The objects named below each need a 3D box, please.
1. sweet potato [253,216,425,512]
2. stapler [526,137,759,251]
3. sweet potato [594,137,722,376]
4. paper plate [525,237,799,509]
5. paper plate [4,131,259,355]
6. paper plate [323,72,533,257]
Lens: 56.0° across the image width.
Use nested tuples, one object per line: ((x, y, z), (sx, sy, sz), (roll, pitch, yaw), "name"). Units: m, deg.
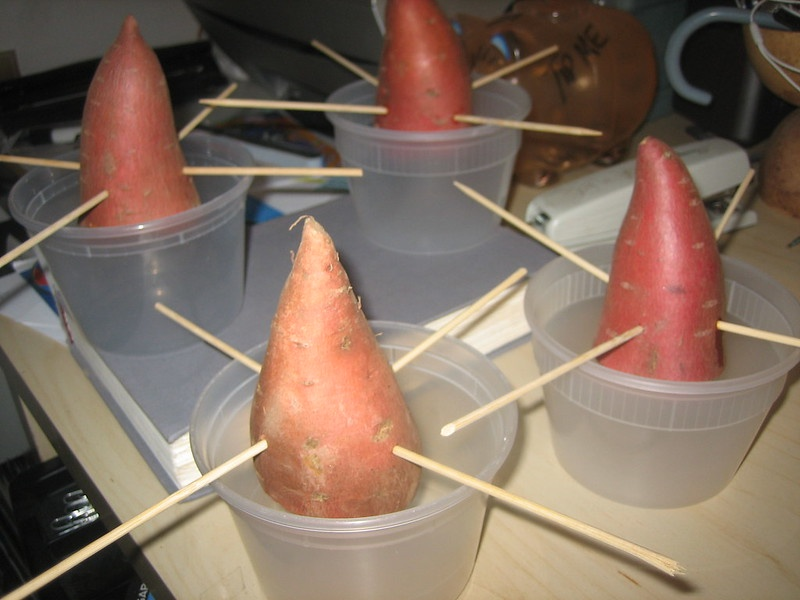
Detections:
((-0.064, 0.064, 0.753), (0.166, 0.299, 0.183), (11, 20, 21), "sweet potato")
((0.336, -0.127, 1.102), (0.254, 0.075, 0.070), (-19, 16, 11), "stapler")
((0.281, -0.048, 0.793), (0.131, 0.238, 0.115), (-8, 29, 8), "sweet potato")
((0.264, 0.121, 0.915), (0.281, 0.200, 0.285), (-19, 40, -22), "paper plate")
((-0.349, -0.066, 1.002), (0.267, 0.185, 0.265), (-30, 47, -28), "paper plate")
((0.039, -0.159, 1.104), (0.247, 0.166, 0.253), (27, 45, 31), "paper plate")
